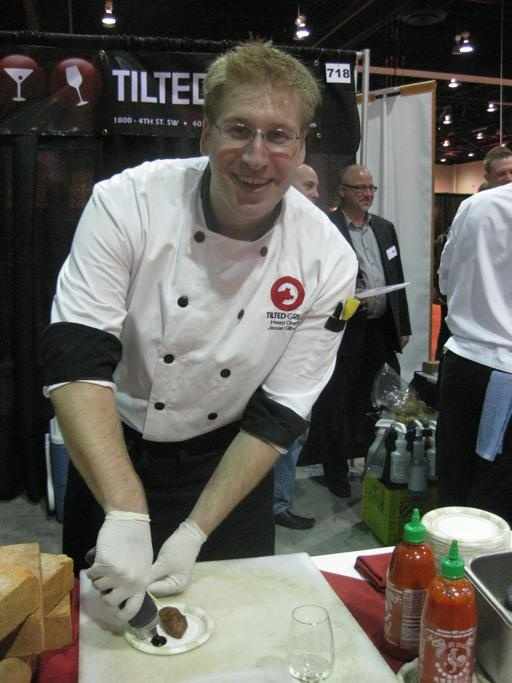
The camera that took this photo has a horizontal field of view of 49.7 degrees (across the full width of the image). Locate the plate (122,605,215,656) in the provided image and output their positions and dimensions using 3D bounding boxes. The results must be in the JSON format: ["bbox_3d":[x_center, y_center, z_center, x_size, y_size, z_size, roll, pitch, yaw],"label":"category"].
[{"bbox_3d":[-0.125,0.442,0.841,0.113,0.024,0.123,2,1,43],"label":"plate"}]

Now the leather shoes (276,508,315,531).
[{"bbox_3d":[0.207,1.017,3.171,0.260,0.104,0.087,-7,4,29],"label":"leather shoes"}]

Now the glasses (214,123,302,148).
[{"bbox_3d":[0.002,-0.372,1.002,0.147,0.042,0.041,1,1,-7],"label":"glasses"}]

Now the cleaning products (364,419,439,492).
[{"bbox_3d":[0.738,0.558,2.853,0.390,0.387,0.268,6,4,34],"label":"cleaning products"}]
